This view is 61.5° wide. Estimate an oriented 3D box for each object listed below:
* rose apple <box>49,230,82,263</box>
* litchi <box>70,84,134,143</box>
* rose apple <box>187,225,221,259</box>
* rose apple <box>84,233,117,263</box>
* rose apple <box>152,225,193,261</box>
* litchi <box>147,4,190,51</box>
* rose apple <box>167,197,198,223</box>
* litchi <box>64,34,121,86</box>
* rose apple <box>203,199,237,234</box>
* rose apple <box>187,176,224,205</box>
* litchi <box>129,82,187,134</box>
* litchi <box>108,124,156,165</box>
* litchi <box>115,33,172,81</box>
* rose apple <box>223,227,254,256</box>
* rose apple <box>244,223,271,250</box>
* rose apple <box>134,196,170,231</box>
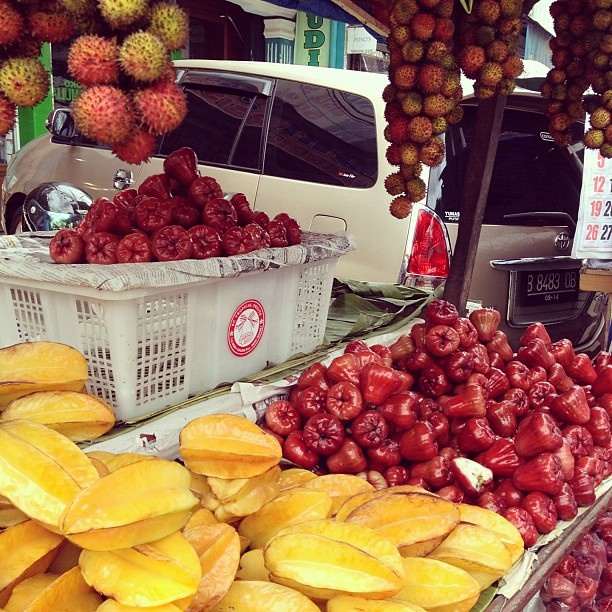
[{"bbox_3d":[-0.818,-0.201,1.763,0.135,0.104,0.121,1,7,-27],"label":"rose apple"},{"bbox_3d":[-0.450,-0.429,1.185,0.146,0.120,0.141,-1,7,0],"label":"litchi"},{"bbox_3d":[-0.375,-0.237,1.991,0.158,0.116,0.127,6,-8,-2],"label":"rose apple"},{"bbox_3d":[-0.700,-0.189,1.818,0.128,0.096,0.103,7,-17,-3],"label":"rose apple"},{"bbox_3d":[-0.473,-0.221,1.898,0.164,0.117,0.138,-4,-8,-7],"label":"rose apple"},{"bbox_3d":[-0.325,-0.663,1.217,0.104,0.100,0.099,-9,20,-4],"label":"litchi"},{"bbox_3d":[-0.496,-0.377,2.070,0.139,0.101,0.119,3,2,-5],"label":"rose apple"},{"bbox_3d":[-0.474,-0.548,1.152,0.130,0.103,0.119,1,8,2],"label":"litchi"},{"bbox_3d":[-0.349,-0.367,2.087,0.176,0.141,0.089,4,-15,-16],"label":"rose apple"},{"bbox_3d":[-0.427,-0.479,2.221,0.159,0.120,0.133,7,-13,-14],"label":"rose apple"},{"bbox_3d":[-0.344,-0.490,1.277,0.101,0.127,0.156,13,19,13],"label":"litchi"},{"bbox_3d":[-0.436,-0.414,1.320,0.094,0.074,0.096,-2,5,0],"label":"litchi"},{"bbox_3d":[-0.366,-0.570,1.181,0.117,0.107,0.066,-3,23,-28],"label":"litchi"},{"bbox_3d":[-0.263,-0.246,1.995,0.140,0.104,0.113,-2,38,-9],"label":"rose apple"},{"bbox_3d":[-0.190,-0.284,2.103,0.128,0.113,0.124,1,37,-2],"label":"rose apple"},{"bbox_3d":[-0.577,-0.345,1.925,0.163,0.125,0.055,7,-28,-4],"label":"rose apple"}]
